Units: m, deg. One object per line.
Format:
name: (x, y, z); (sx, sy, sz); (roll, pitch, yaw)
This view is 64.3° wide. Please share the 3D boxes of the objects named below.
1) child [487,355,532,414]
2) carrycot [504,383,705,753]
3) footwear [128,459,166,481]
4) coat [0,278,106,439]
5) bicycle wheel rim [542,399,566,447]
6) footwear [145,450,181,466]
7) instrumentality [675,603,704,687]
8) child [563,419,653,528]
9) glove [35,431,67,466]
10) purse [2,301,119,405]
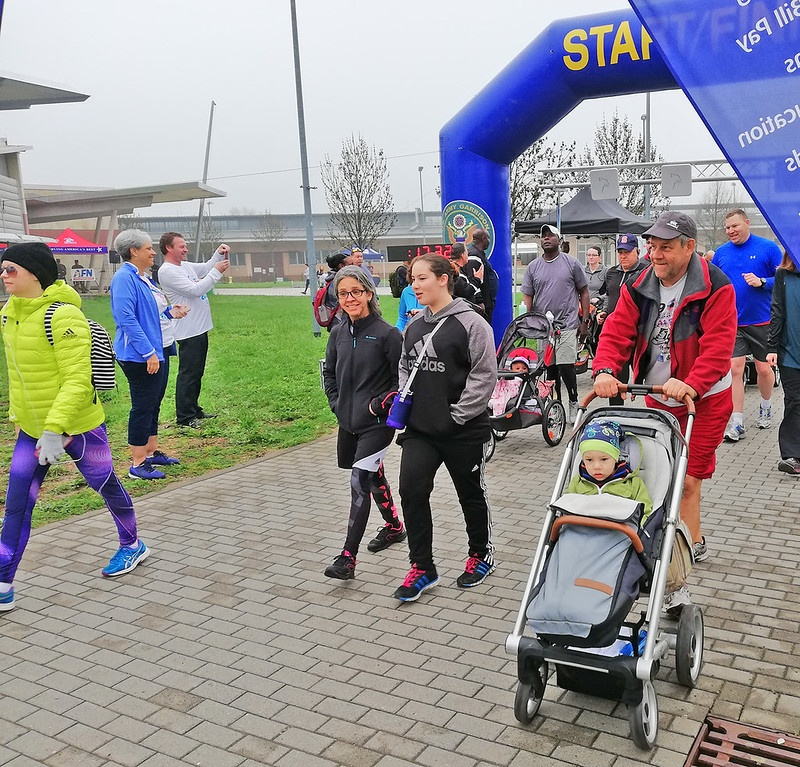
child: (1.382, 0.101, 8.041); (0.394, 0.605, 1.226); (21, -2, 18)
carrycot: (0.993, 0.831, 3.041); (0.734, 1.401, 1.147); (1, 8, 31)
footwear: (-2.854, 0.963, 7.134); (0.397, 0.177, 0.182); (4, 8, 6)
coat: (-2.339, -0.152, 4.236); (0.562, 1.049, 0.502); (-6, 8, -26)
bicycle wheel rim: (1.893, 0.492, 7.911); (0.089, 0.494, 0.535); (-2, -14, 32)
footwear: (-2.808, 0.880, 7.520); (0.371, 0.167, 0.152); (2, 8, -7)
instrumentality: (1.405, 1.287, 3.093); (0.062, 0.319, 0.294); (-1, 23, 28)
child: (1.020, 0.420, 3.209); (0.517, 0.595, 0.385); (-4, -8, 37)
glove: (-2.281, 0.427, 4.129); (0.204, 0.257, 0.141); (-2, 7, 9)
purse: (-2.302, -0.223, 4.485); (0.451, 0.567, 0.576); (-10, 9, -36)
